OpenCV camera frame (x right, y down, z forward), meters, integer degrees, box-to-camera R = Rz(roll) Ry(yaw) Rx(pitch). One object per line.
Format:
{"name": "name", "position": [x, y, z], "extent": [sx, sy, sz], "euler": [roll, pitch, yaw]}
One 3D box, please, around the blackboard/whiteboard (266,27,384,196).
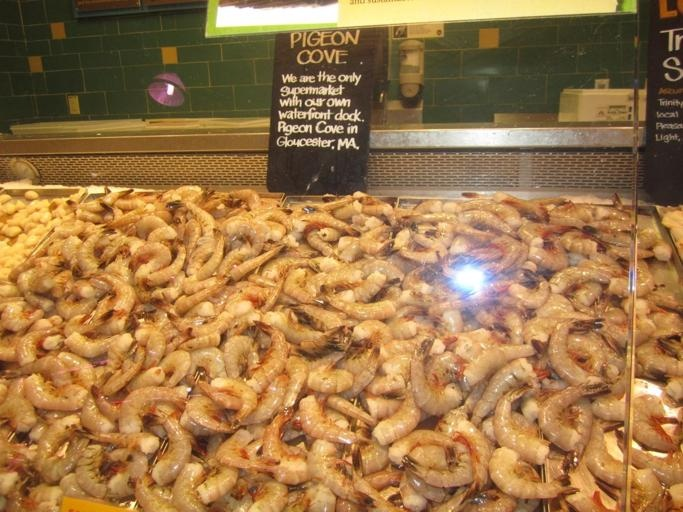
{"name": "blackboard/whiteboard", "position": [-0.088, -0.620, 2.174], "extent": [0.450, 0.651, 0.403], "euler": [4, 28, 10]}
